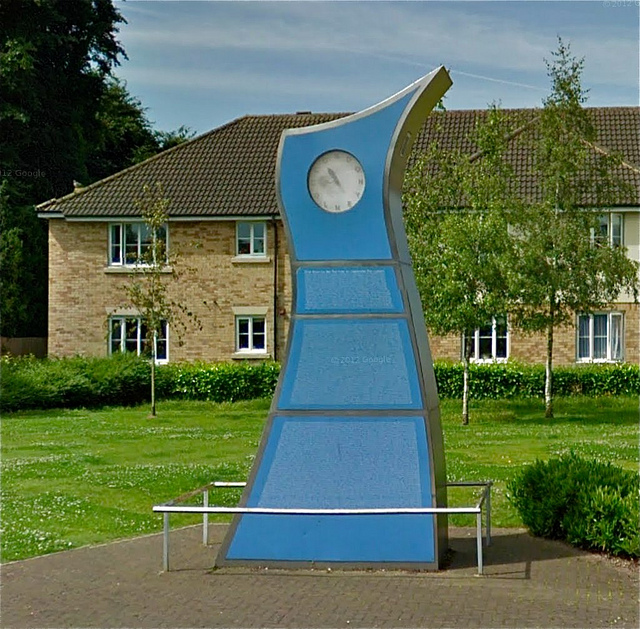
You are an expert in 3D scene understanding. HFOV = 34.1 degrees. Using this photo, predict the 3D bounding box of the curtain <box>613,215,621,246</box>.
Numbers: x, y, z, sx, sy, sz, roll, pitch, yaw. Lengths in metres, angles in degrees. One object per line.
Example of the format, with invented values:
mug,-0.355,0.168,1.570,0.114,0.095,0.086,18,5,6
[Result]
curtain,8.660,-2.456,30.297,0.216,0.782,0.203,0,2,11

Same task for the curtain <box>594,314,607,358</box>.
curtain,8.251,0.617,30.506,0.457,0.066,1.775,-1,-49,16

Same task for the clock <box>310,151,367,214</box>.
clock,0.246,-1.534,12.012,0.594,0.719,0.109,0,0,9
